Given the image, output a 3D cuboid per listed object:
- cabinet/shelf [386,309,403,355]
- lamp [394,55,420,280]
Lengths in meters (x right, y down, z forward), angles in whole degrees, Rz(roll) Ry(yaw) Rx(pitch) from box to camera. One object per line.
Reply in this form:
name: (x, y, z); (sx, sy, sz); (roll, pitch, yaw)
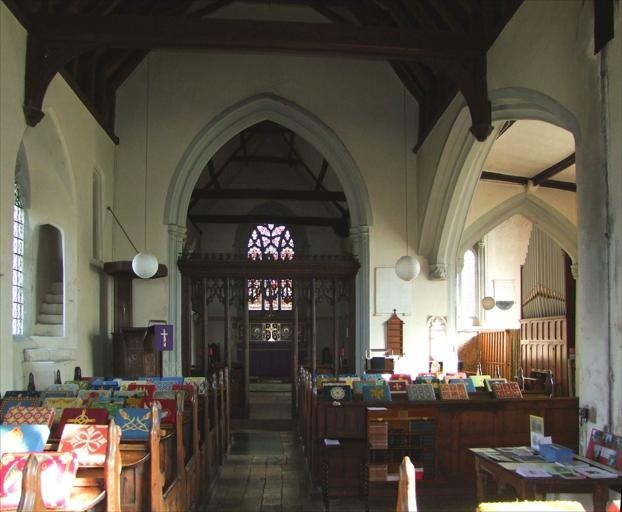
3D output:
cabinet/shelf: (1.534, 1.375, 11.828); (0.350, 0.823, 0.097); (0, -8, -7)
lamp: (1.520, -1.188, 10.273); (0.380, 3.192, 0.392); (9, 18, 38)
